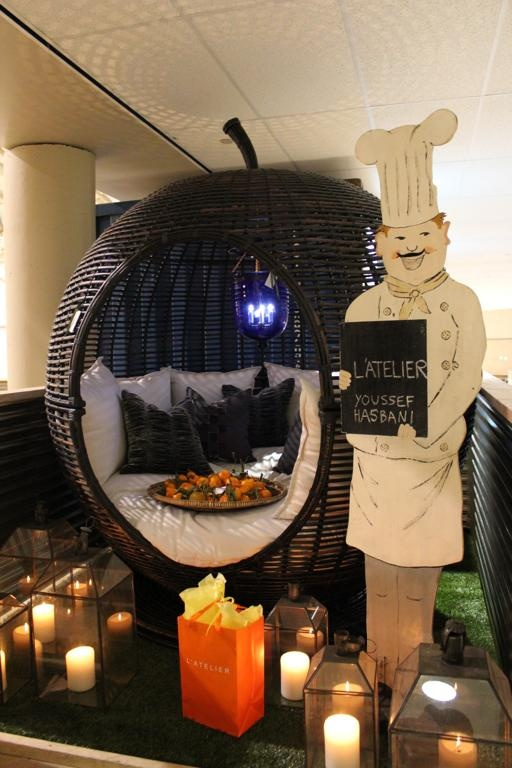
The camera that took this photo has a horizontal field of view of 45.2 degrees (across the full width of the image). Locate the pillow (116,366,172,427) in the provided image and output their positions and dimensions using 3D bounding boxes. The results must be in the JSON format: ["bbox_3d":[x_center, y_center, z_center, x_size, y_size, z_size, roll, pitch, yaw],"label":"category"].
[{"bbox_3d":[-0.507,0.068,2.830,0.067,0.177,0.269,3,9,35],"label":"pillow"}]

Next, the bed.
[{"bbox_3d":[-0.189,0.331,1.990,0.830,0.347,0.425,8,15,44],"label":"bed"}]

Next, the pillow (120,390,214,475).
[{"bbox_3d":[-0.381,0.210,2.571,0.380,0.318,0.183,2,8,-38],"label":"pillow"}]

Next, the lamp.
[{"bbox_3d":[0.021,-0.349,2.860,0.257,0.346,0.230,-12,20,-23],"label":"lamp"}]

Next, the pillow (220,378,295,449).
[{"bbox_3d":[0.011,0.160,2.991,0.369,0.344,0.137,-3,-1,-15],"label":"pillow"}]

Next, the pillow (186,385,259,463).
[{"bbox_3d":[-0.156,0.191,2.833,0.352,0.303,0.100,4,-9,9],"label":"pillow"}]
